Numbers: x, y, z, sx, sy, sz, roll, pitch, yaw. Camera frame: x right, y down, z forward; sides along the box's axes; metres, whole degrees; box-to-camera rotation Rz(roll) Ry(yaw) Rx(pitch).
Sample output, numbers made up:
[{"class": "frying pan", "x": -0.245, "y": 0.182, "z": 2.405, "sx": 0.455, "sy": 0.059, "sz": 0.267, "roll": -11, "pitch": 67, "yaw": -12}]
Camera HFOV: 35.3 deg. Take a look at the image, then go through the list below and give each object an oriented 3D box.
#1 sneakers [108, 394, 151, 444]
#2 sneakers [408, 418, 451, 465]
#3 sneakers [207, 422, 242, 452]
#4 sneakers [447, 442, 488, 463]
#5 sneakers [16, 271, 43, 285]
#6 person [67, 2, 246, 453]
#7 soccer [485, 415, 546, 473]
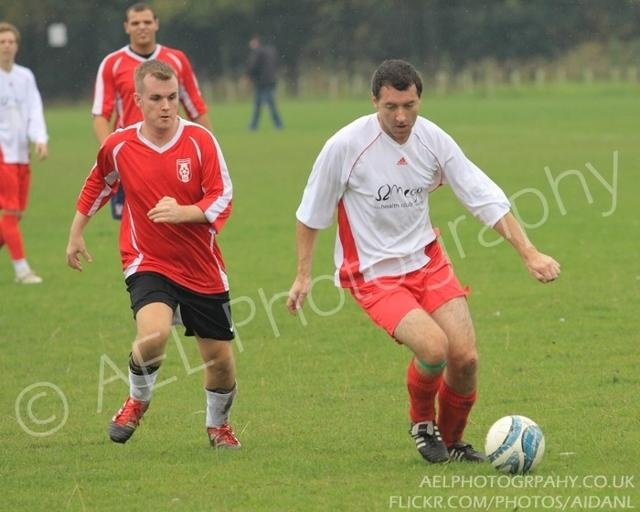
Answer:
[{"class": "sneakers", "x": -1.309, "y": 1.135, "z": 6.953, "sx": 0.121, "sy": 0.288, "sz": 0.289, "roll": 6, "pitch": 15, "yaw": 41}, {"class": "sneakers", "x": 0.743, "y": 1.278, "z": 6.855, "sx": 0.135, "sy": 0.177, "sz": 0.395, "roll": -24, "pitch": 45, "yaw": -7}, {"class": "sneakers", "x": -0.671, "y": 1.292, "z": 7.107, "sx": 0.275, "sy": 0.132, "sz": 0.108, "roll": 0, "pitch": -2, "yaw": 35}, {"class": "sneakers", "x": 1.013, "y": 1.343, "z": 6.884, "sx": 0.292, "sy": 0.134, "sz": 0.102, "roll": 1, "pitch": 10, "yaw": 11}, {"class": "sneakers", "x": -3.130, "y": 0.249, "z": 10.942, "sx": 0.243, "sy": 0.118, "sz": 0.132, "roll": -1, "pitch": 7, "yaw": 17}, {"class": "person", "x": -1.093, "y": -0.006, "z": 6.983, "sx": 1.027, "sy": 2.636, "sz": 0.761, "roll": -4, "pitch": 11, "yaw": -2}, {"class": "soccer", "x": 1.260, "y": 1.232, "z": 6.686, "sx": 0.341, "sy": 0.358, "sz": 0.347, "roll": 21, "pitch": -6, "yaw": -16}]
